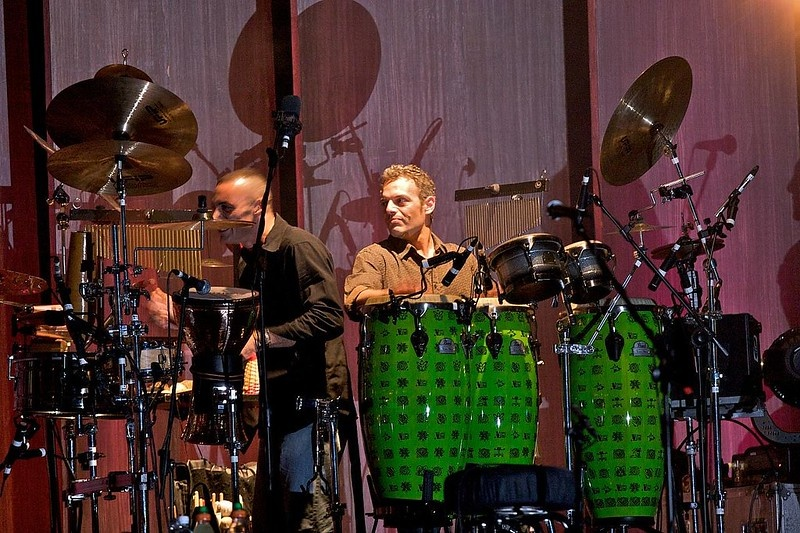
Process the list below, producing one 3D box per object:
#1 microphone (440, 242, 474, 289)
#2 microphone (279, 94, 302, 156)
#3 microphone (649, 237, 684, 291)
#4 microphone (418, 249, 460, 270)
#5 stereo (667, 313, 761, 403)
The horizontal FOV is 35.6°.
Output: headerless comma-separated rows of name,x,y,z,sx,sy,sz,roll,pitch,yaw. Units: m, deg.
microphone,0.388,0.011,8.345,0.074,0.309,0.090,27,7,-2
microphone,-0.690,-0.901,7.778,0.138,0.490,0.388,-1,-12,-5
microphone,1.892,-0.006,8.781,0.090,0.464,0.120,4,-44,50
microphone,0.254,-0.036,7.811,0.142,0.050,0.153,-15,-10,3
stereo,2.110,0.646,8.419,0.474,0.499,0.286,2,-11,-8
